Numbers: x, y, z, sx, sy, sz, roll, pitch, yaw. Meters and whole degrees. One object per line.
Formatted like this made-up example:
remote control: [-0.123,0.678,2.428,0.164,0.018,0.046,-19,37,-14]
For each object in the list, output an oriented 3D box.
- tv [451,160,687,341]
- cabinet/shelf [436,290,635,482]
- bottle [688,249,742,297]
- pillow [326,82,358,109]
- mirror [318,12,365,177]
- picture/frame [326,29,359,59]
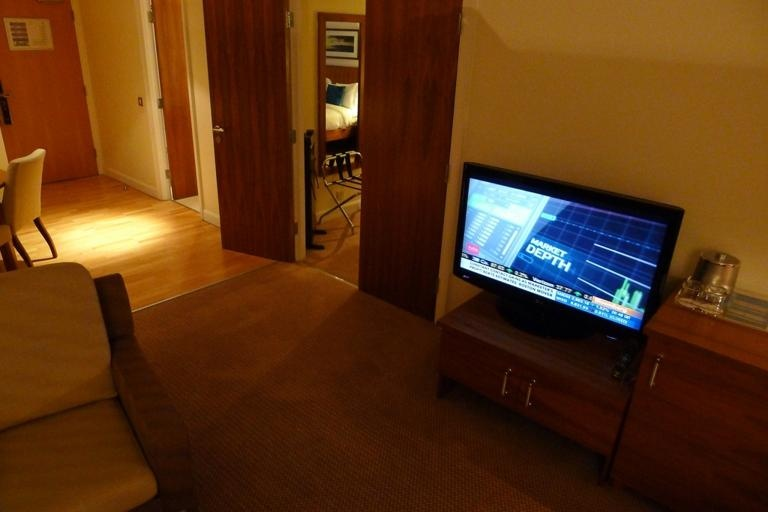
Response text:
tv: [1.132,-0.028,3.259,0.892,0.645,0.302,26,40,27]
cabinet/shelf: [0.982,0.737,3.532,1.153,0.593,0.642,20,34,32]
bottle: [1.877,0.087,3.151,0.280,0.321,0.285,4,-6,0]
pillow: [-0.447,-1.696,5.825,0.241,0.217,0.093,5,15,-8]
mirror: [-0.443,-1.736,5.841,0.577,1.478,0.175,-10,29,-32]
picture/frame: [-0.425,-2.164,5.627,0.314,0.223,0.013,-2,28,-4]
